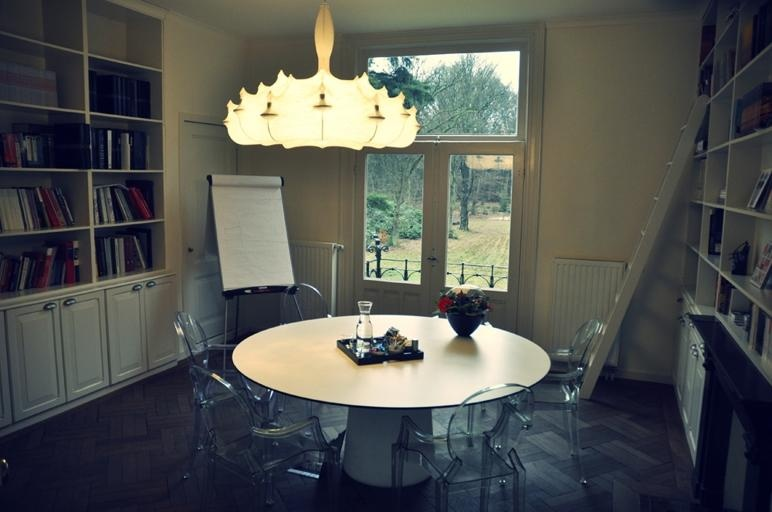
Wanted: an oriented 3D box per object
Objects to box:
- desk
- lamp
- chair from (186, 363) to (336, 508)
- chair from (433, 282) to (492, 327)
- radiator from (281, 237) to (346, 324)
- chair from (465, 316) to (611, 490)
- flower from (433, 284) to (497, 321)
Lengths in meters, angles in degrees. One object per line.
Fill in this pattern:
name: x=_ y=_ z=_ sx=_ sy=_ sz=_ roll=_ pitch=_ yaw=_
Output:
desk: x=0.066 y=0.900 z=4.252 sx=1.627 sy=0.640 sz=1.668 roll=-3 pitch=14 yaw=-10
lamp: x=-0.472 y=-1.182 z=4.344 sx=1.206 sy=1.284 sz=1.240 roll=-1 pitch=11 yaw=-9
chair: x=-0.943 y=1.364 z=4.028 sx=0.751 sy=1.068 sz=0.651 roll=-19 pitch=27 yaw=-38
chair: x=0.696 y=0.394 z=4.920 sx=0.490 sy=0.401 sz=0.510 roll=2 pitch=1 yaw=6
radiator: x=-0.948 y=0.309 z=6.972 sx=0.693 sy=0.938 sz=0.092 roll=3 pitch=-5 yaw=-38
chair: x=1.533 y=1.253 z=5.562 sx=1.361 sy=2.181 sz=1.225 roll=-1 pitch=0 yaw=10
flower: x=0.711 y=0.394 z=4.825 sx=0.408 sy=0.333 sz=0.407 roll=4 pitch=0 yaw=4
